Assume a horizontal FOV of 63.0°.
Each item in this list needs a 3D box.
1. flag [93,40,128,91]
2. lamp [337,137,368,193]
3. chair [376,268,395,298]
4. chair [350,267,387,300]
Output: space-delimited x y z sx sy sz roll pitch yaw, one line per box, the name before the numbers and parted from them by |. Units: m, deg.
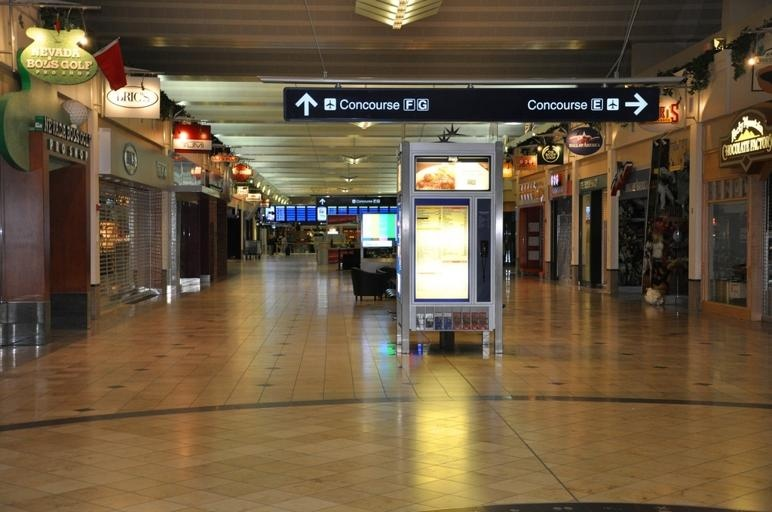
flag | -4.936 -3.461 11.213 0.482 1.003 0.758 0 -1 -22
lamp | -2.203 -5.001 35.002 1.263 2.575 1.224 1 5 3
chair | 0.046 0.740 17.508 0.752 0.801 0.638 0 4 -8
chair | -0.474 0.728 17.310 0.876 0.901 0.933 0 0 -3
